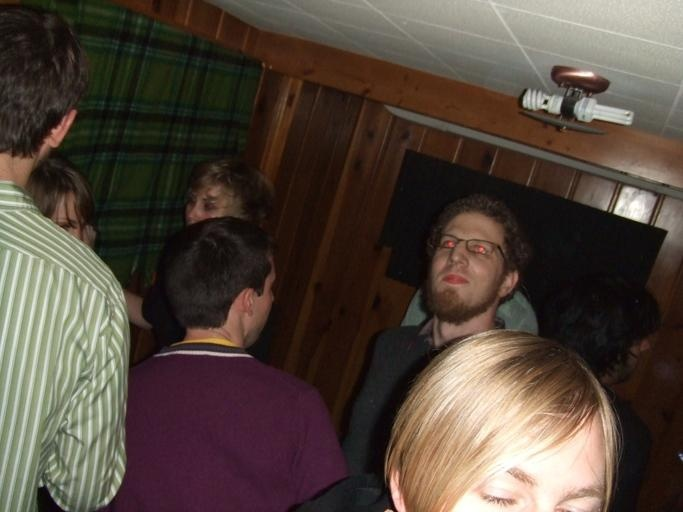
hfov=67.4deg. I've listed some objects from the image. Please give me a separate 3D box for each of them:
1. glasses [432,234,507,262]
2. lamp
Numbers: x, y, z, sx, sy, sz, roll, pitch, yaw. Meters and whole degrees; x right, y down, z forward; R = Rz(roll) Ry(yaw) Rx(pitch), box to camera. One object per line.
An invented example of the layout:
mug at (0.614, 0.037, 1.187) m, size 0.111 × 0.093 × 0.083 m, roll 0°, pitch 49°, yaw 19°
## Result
glasses at (0.493, -0.033, 1.951) m, size 0.257 × 0.085 × 0.086 m, roll 11°, pitch 1°, yaw 15°
lamp at (0.742, -0.514, 1.704) m, size 0.338 × 0.165 × 0.183 m, roll 24°, pitch 20°, yaw 33°
